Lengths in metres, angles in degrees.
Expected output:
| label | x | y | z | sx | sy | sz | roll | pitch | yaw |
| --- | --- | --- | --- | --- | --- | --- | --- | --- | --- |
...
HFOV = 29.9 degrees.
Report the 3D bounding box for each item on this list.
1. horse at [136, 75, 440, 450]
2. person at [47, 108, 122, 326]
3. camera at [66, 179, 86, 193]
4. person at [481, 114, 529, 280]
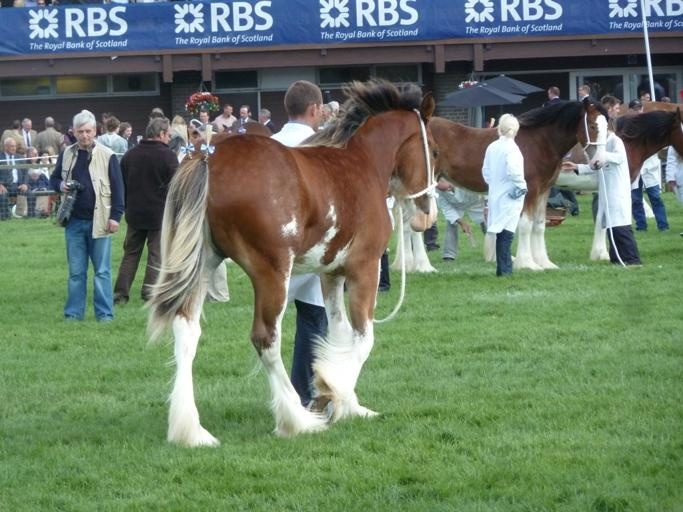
| label | x | y | z | sx | sy | sz | roll | pitch | yaw |
| --- | --- | --- | --- | --- | --- | --- | --- | --- | --- |
| horse | -0.397 | -0.082 | 15.865 | 4.810 | 4.554 | 1.429 | 0 | 1 | -43 |
| person | -3.740 | -0.587 | 18.788 | 1.079 | 3.097 | 0.855 | -1 | 2 | 6 |
| camera | -3.879 | -1.033 | 18.654 | 0.193 | 0.111 | 0.402 | -2 | 11 | 8 |
| person | 2.693 | -1.026 | 21.010 | 0.727 | 2.658 | 0.386 | 0 | 2 | 20 |
